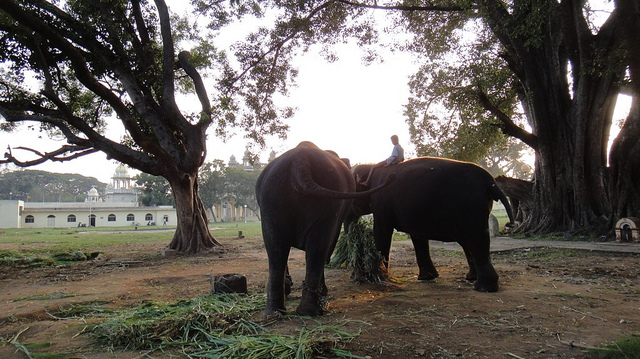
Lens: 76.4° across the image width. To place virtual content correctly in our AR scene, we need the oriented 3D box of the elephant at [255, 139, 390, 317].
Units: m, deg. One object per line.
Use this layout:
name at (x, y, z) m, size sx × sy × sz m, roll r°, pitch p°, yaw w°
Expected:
elephant at (-0.341, 1.141, 9.596) m, size 2.144 × 3.770 × 1.572 m, roll -3°, pitch 9°, yaw -9°

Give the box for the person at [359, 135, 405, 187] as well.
person at (1.883, -0.514, 11.869) m, size 1.153 × 1.550 × 0.749 m, roll 4°, pitch 2°, yaw 14°
